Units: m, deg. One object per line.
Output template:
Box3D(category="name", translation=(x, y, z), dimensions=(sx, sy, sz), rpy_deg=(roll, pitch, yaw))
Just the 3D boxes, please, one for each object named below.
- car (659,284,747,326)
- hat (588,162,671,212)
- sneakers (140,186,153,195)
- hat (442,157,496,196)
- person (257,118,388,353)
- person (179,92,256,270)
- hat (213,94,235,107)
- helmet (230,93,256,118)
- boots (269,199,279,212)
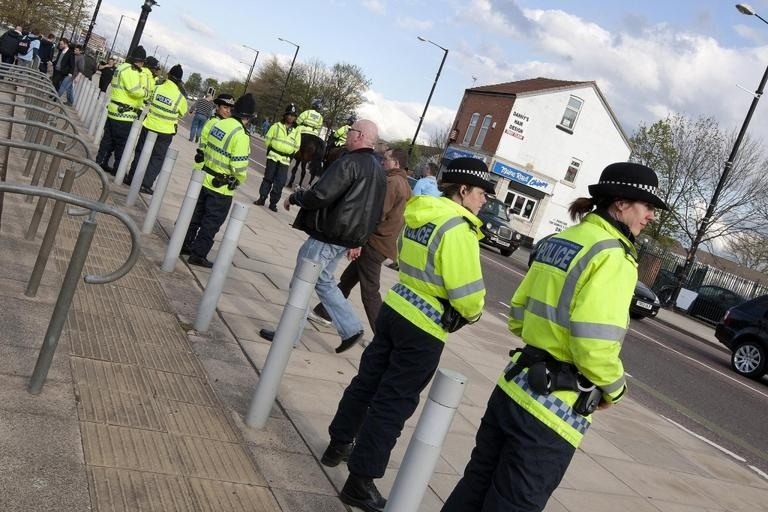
Box3D(category="car", translation=(14.630, 2.331, 25.464), dimensions=(1.571, 1.248, 2.523), rpy_deg=(-6, 17, -42))
Box3D(category="hat", translation=(1.556, -0.443, 3.534), dimensions=(0.485, 0.285, 0.403), rpy_deg=(9, 5, 33))
Box3D(category="sneakers", translation=(-4.785, -1.319, 11.087), dimensions=(0.230, 0.183, 0.314), rpy_deg=(17, 12, -26))
Box3D(category="hat", translation=(0.659, -0.626, 4.317), dimensions=(0.352, 0.208, 0.280), rpy_deg=(5, 11, 7))
Box3D(category="person", translation=(-0.579, -0.197, 5.973), dimensions=(1.070, 2.571, 0.839), rpy_deg=(17, 13, -15))
Box3D(category="person", translation=(-2.448, -1.114, 8.063), dimensions=(0.718, 2.421, 1.100), rpy_deg=(16, 10, -21))
Box3D(category="hat", translation=(-2.713, -2.595, 9.335), dimensions=(0.323, 0.137, 0.294), rpy_deg=(-3, 4, -10))
Box3D(category="helmet", translation=(-2.209, -2.268, 8.445), dimensions=(0.402, 0.356, 0.381), rpy_deg=(10, 11, 13))
Box3D(category="boots", translation=(-2.836, -1.279, 14.091), dimensions=(0.228, 0.459, 0.320), rpy_deg=(-4, 15, -21))
